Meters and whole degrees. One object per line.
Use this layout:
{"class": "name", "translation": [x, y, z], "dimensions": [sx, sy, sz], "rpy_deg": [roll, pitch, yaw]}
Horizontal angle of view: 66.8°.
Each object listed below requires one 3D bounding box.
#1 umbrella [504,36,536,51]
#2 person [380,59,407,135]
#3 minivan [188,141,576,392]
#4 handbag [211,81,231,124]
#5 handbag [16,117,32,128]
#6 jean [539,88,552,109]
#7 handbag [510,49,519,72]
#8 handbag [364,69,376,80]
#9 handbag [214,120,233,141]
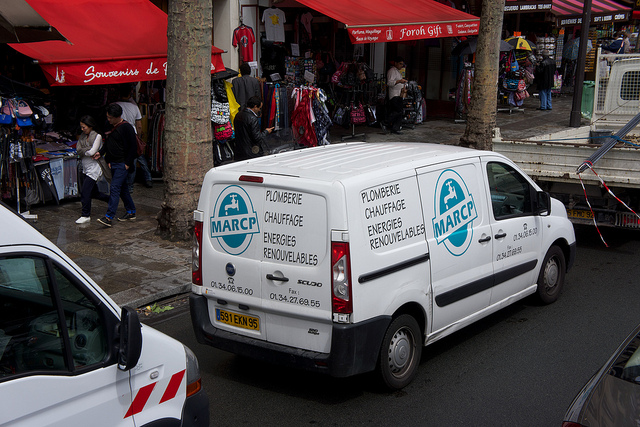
{"class": "umbrella", "translation": [9.923, -8.424, 24.002], "dimensions": [0.878, 0.607, 2.570], "rpy_deg": [9, 21, 37]}
{"class": "person", "translation": [2.872, -4.614, 19.181], "dimensions": [0.951, 2.824, 1.069], "rpy_deg": [0, 15, 11]}
{"class": "minivan", "translation": [1.410, 0.312, 7.955], "dimensions": [3.297, 2.930, 6.309], "rpy_deg": [5, 14, 45]}
{"class": "handbag", "translation": [-2.765, -3.046, 13.964], "dimensions": [0.421, 1.170, 1.048], "rpy_deg": [-1, -2, -19]}
{"class": "handbag", "translation": [-6.430, -1.978, 10.531], "dimensions": [0.272, 0.220, 0.205], "rpy_deg": [-14, 19, -33]}
{"class": "jean", "translation": [11.709, -5.979, 25.177], "dimensions": [0.642, 1.064, 0.300], "rpy_deg": [-7, 15, -13]}
{"class": "handbag", "translation": [9.555, -7.554, 23.910], "dimensions": [0.333, 1.071, 0.501], "rpy_deg": [8, 18, 38]}
{"class": "handbag", "translation": [1.806, -5.071, 17.585], "dimensions": [0.186, 0.331, 0.524], "rpy_deg": [9, 21, 40]}
{"class": "handbag", "translation": [-2.772, -2.343, 13.788], "dimensions": [0.495, 0.544, 0.363], "rpy_deg": [-18, 22, -36]}
